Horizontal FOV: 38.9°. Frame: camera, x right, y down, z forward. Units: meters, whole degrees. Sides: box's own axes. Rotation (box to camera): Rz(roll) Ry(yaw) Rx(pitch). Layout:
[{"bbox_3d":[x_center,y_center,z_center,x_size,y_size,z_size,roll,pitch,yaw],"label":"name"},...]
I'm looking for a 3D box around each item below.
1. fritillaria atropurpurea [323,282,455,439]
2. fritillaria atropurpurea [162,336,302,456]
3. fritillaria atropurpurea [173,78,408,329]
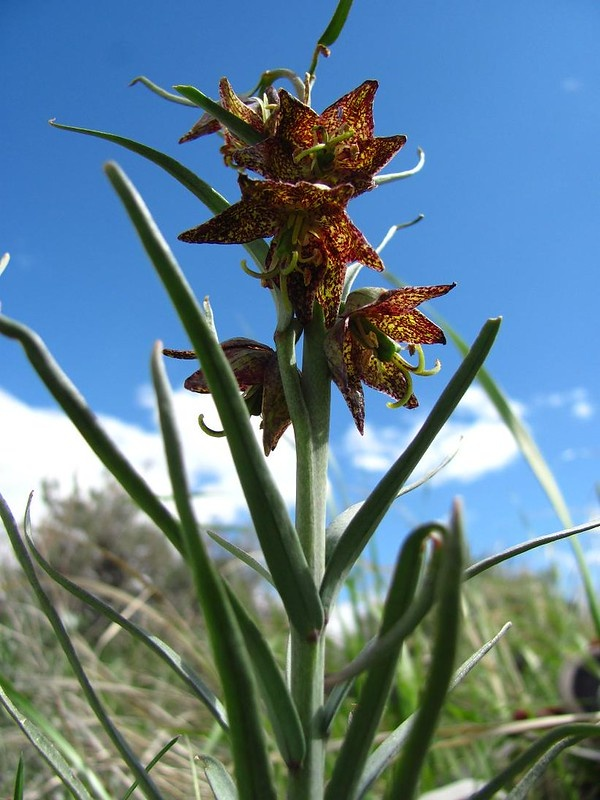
[{"bbox_3d":[0.076,-0.052,0.855,0.161,0.135,0.129,-15,-68,-26],"label":"fritillaria atropurpurea"},{"bbox_3d":[-0.053,-0.009,0.869,0.132,0.118,0.117,10,-62,28],"label":"fritillaria atropurpurea"},{"bbox_3d":[-0.010,-0.199,0.797,0.207,0.259,0.131,-1,-37,-9],"label":"fritillaria atropurpurea"}]
